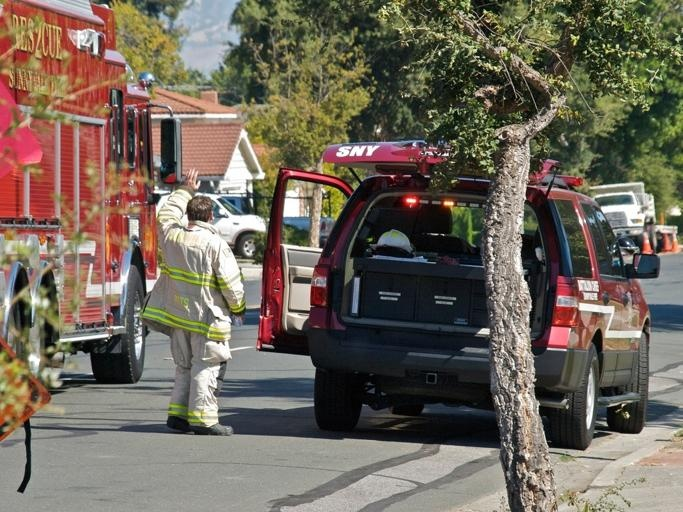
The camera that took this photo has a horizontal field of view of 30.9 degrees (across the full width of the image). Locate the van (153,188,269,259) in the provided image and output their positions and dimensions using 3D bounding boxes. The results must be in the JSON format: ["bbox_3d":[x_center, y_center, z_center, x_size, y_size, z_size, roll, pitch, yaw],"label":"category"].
[{"bbox_3d":[-4.132,-0.873,36.892,3.549,1.791,2.136,-2,6,0],"label":"van"}]

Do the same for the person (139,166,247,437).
[{"bbox_3d":[-1.360,0.553,11.544,0.906,2.218,0.388,1,3,18],"label":"person"}]

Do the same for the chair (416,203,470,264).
[{"bbox_3d":[1.018,-0.255,12.553,0.449,0.657,0.620,3,0,22],"label":"chair"}]

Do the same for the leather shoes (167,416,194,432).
[{"bbox_3d":[-1.518,1.568,11.616,0.267,0.124,0.117,24,-29,-14],"label":"leather shoes"}]

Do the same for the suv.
[{"bbox_3d":[1.430,0.257,13.012,3.262,2.819,5.083,4,4,28],"label":"suv"}]
